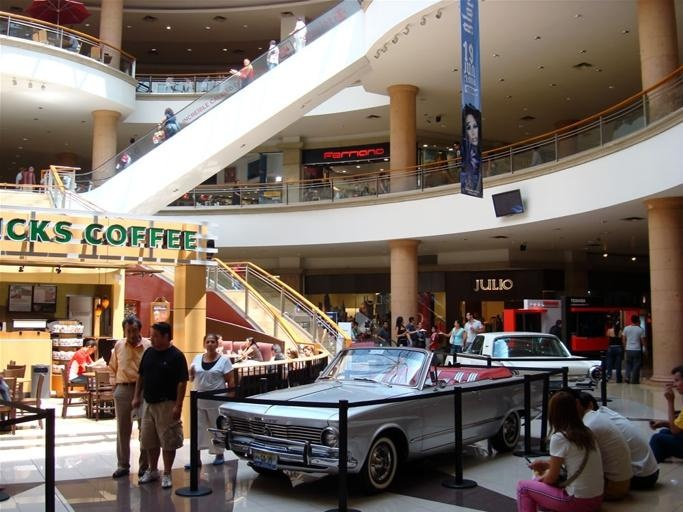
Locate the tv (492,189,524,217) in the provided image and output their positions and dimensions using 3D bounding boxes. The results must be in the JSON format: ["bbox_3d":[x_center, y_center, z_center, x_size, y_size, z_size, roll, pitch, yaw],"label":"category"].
[{"bbox_3d":[5.382,-1.719,17.243,0.296,0.716,0.913,-13,7,-43],"label":"tv"}]

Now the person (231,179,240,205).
[{"bbox_3d":[-4.580,-2.657,23.273,0.394,0.943,0.310,-2,-4,1],"label":"person"}]

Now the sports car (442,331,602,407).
[{"bbox_3d":[3.781,2.508,12.841,4.194,1.483,2.579,4,-13,14],"label":"sports car"}]

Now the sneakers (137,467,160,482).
[{"bbox_3d":[-2.351,2.667,6.549,0.284,0.118,0.102,6,-6,-36],"label":"sneakers"}]

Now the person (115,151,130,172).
[{"bbox_3d":[-8.081,-3.508,19.726,0.712,0.712,0.168,-24,-16,23],"label":"person"}]

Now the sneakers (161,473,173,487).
[{"bbox_3d":[-2.074,2.652,6.326,0.071,0.082,0.208,2,-9,-17],"label":"sneakers"}]

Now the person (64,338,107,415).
[{"bbox_3d":[-5.920,2.724,12.261,0.908,1.564,0.664,4,-9,-7],"label":"person"}]

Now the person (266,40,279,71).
[{"bbox_3d":[-2.464,-7.105,19.214,0.450,0.923,0.267,-2,-4,0],"label":"person"}]

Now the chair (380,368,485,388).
[{"bbox_3d":[1.493,1.735,7.700,0.837,0.294,0.615,8,-13,-42],"label":"chair"}]

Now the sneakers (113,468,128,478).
[{"bbox_3d":[-2.808,2.745,6.797,0.088,0.079,0.191,-7,-15,39],"label":"sneakers"}]

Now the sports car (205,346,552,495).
[{"bbox_3d":[0.783,2.062,7.100,1.729,1.160,3.680,-11,-14,40],"label":"sports car"}]

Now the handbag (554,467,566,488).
[{"bbox_3d":[2.095,2.100,5.083,0.051,0.193,0.139,17,-23,-4],"label":"handbag"}]

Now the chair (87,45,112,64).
[{"bbox_3d":[-10.564,-8.742,23.270,0.610,0.697,0.569,0,2,19],"label":"chair"}]

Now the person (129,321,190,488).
[{"bbox_3d":[-2.197,1.764,6.492,0.813,1.923,0.366,-5,-5,36],"label":"person"}]

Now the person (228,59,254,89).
[{"bbox_3d":[-3.579,-6.635,19.576,0.708,1.297,0.890,-1,-5,-12],"label":"person"}]

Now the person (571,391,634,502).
[{"bbox_3d":[2.876,2.040,5.913,0.748,1.054,0.812,-3,-16,38],"label":"person"}]

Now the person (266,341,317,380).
[{"bbox_3d":[-1.133,2.327,11.992,1.255,0.300,1.360,-2,3,-25],"label":"person"}]
